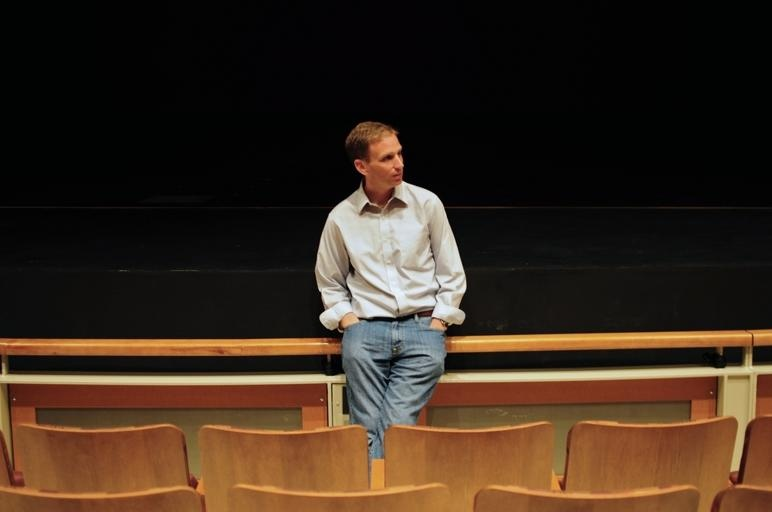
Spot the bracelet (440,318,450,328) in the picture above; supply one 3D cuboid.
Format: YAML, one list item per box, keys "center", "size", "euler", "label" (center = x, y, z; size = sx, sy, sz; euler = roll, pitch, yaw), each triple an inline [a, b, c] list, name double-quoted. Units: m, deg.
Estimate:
- center: [0.349, 0.399, 4.672]
  size: [0.046, 0.023, 0.057]
  euler: [4, 8, 6]
  label: "bracelet"

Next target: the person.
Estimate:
- center: [0.028, 0.170, 4.691]
  size: [0.897, 1.911, 0.476]
  euler: [-2, 0, 0]
  label: "person"
